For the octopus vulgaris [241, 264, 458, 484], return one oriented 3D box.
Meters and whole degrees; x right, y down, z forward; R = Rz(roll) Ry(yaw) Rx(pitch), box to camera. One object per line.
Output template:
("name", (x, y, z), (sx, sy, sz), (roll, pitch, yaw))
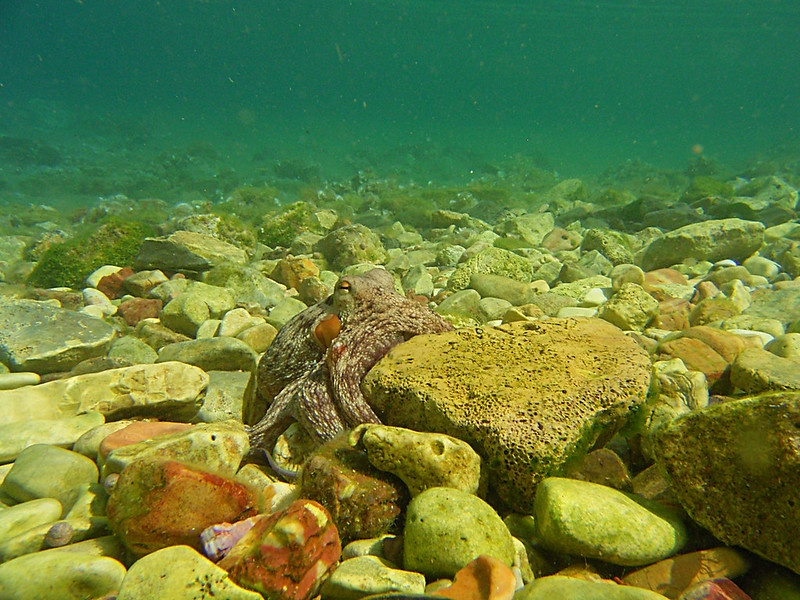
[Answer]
("octopus vulgaris", (-0.400, 0.457, 4.040), (1.178, 1.133, 0.871), (1, 23, -9))
